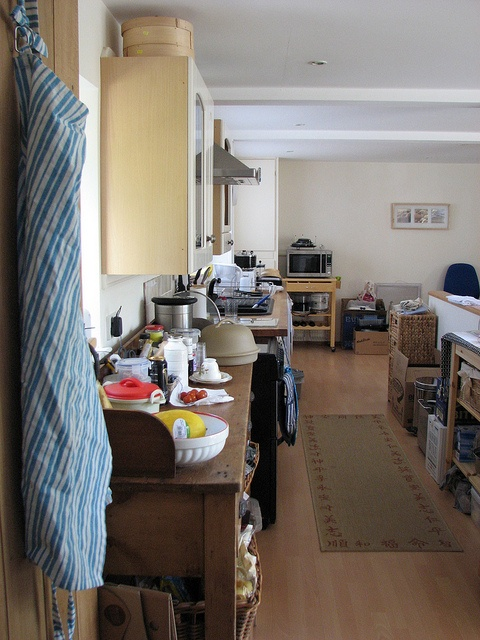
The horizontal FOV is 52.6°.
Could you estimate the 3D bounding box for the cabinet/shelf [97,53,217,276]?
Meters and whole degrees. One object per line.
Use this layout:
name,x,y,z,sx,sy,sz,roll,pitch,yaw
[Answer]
cabinet/shelf,-0.304,-0.678,2.276,0.268,0.863,0.851,3,14,7

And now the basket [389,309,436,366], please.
basket,1.469,0.131,4.179,0.261,0.468,0.367,1,6,6

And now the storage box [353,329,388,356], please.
storage box,1.641,0.287,6.099,0.267,0.229,0.317,0,9,2

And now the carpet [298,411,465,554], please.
carpet,0.743,0.933,2.955,0.675,0.020,1.610,0,8,4

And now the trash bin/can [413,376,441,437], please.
trash bin/can,1.314,0.621,3.492,0.214,0.404,0.299,1,1,17

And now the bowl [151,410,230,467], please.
bowl,-0.112,0.294,1.158,0.146,0.093,0.174,1,9,1

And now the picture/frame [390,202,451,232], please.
picture/frame,2.479,-1.431,6.694,0.765,0.344,0.044,-1,6,1

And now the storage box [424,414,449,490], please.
storage box,1.125,0.744,2.789,0.079,0.284,0.220,2,11,6

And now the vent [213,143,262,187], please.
vent,-0.028,-0.999,3.161,0.290,0.196,0.574,-1,8,-2

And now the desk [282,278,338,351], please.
desk,0.976,-0.100,6.518,0.683,0.947,0.635,1,7,14
